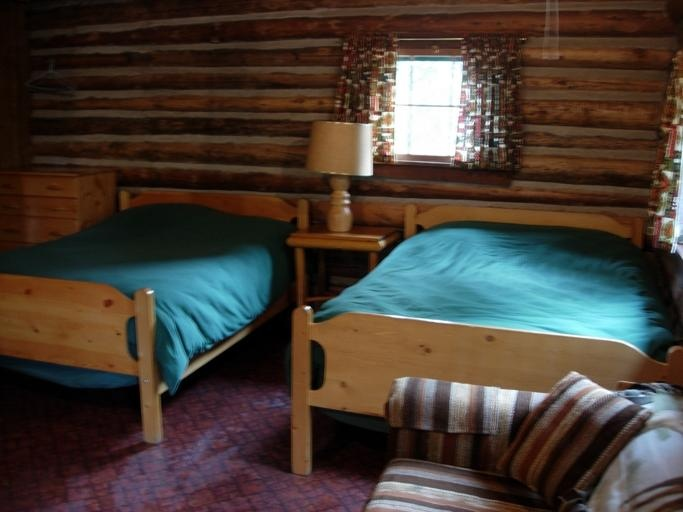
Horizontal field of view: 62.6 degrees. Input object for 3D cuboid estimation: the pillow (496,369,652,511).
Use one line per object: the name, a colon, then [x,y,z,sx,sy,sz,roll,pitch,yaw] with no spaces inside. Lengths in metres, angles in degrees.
pillow: [0.805,0.641,1.929,0.371,0.347,0.322,-10,20,-40]

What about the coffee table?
coffee table: [0.031,0.051,4.484,1.057,0.723,0.682,2,16,11]
